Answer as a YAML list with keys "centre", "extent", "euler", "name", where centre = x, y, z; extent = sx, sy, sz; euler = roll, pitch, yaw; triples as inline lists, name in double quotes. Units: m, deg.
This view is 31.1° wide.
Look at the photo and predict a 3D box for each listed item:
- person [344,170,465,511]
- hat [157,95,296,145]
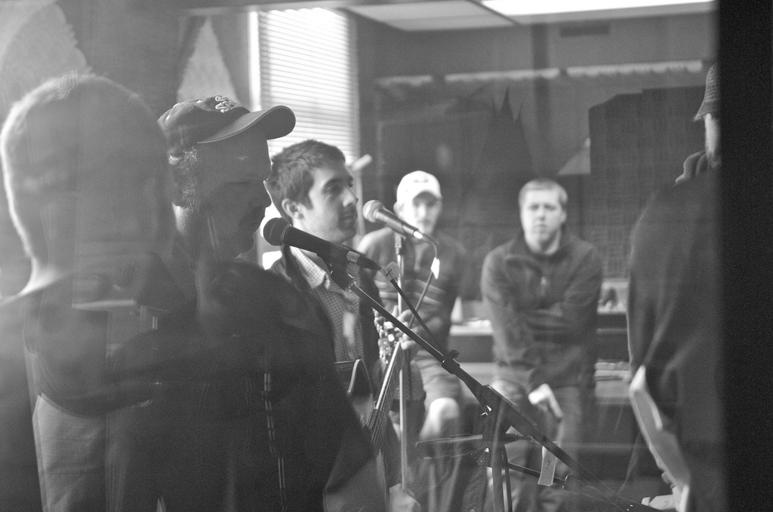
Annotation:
- centre: [0.081, 0.280, 4.603]
  extent: [0.339, 1.134, 0.103]
  euler: [-1, 3, -2]
  name: "person"
- centre: [-0.557, -0.437, 4.714]
  extent: [0.316, 0.102, 0.203]
  euler: [-13, 10, 24]
  name: "hat"
